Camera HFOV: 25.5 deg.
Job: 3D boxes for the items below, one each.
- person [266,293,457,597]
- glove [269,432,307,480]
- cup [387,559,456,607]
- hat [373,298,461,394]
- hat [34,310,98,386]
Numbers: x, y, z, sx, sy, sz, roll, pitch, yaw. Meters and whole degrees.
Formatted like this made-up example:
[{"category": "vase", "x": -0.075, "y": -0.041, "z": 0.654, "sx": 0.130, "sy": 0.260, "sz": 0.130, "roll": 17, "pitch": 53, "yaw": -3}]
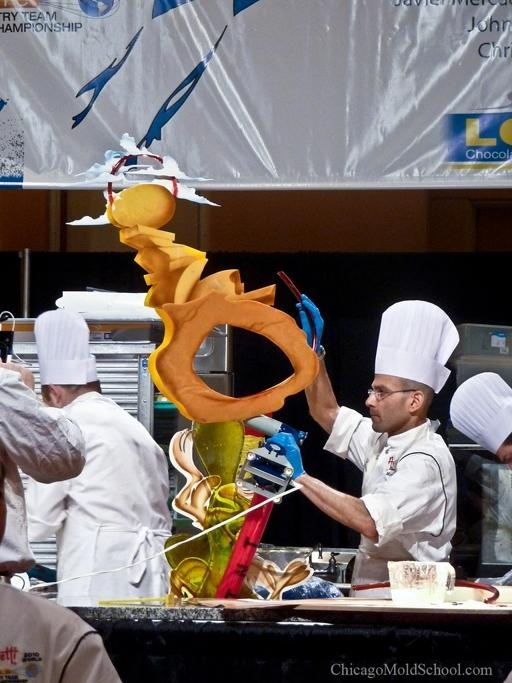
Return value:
[{"category": "person", "x": 0.356, "y": 0.294, "z": 2.982, "sx": 0.472, "sy": 0.777, "sz": 0.840, "roll": 4, "pitch": 11, "yaw": 3}, {"category": "glove", "x": 0.066, "y": 0.260, "z": 2.541, "sx": 0.075, "sy": 0.106, "sz": 0.040, "roll": -27, "pitch": -4, "yaw": -24}, {"category": "cup", "x": 0.342, "y": 0.498, "z": 2.350, "sx": 0.161, "sy": 0.078, "sz": 0.106, "roll": -2, "pitch": -5, "yaw": -6}, {"category": "hat", "x": 0.438, "y": 0.010, "z": 3.097, "sx": 0.255, "sy": 0.231, "sz": 0.184, "roll": 6, "pitch": -10, "yaw": -34}, {"category": "hat", "x": -0.569, "y": 0.022, "z": 3.342, "sx": 0.187, "sy": 0.234, "sz": 0.228, "roll": -1, "pitch": 4, "yaw": 12}]
